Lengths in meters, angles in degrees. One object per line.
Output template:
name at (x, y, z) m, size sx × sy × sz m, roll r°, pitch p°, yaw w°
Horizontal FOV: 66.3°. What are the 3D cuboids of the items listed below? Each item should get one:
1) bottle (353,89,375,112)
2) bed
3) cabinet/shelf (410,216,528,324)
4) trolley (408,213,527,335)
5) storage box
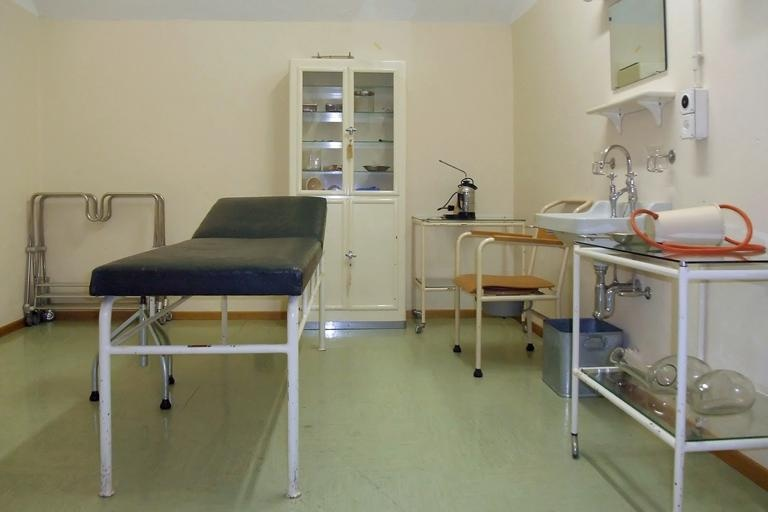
bottle at (-0.162, -1.278, 4.781) m, size 0.174 × 0.161 × 0.088 m, roll 1°, pitch 13°, yaw 3°
bed at (-0.939, 0.313, 3.985) m, size 1.033 × 1.196 × 2.837 m, roll 0°, pitch 7°, yaw -2°
cabinet/shelf at (0.627, 0.051, 5.102) m, size 1.106 × 1.007 × 0.896 m, roll 0°, pitch 0°, yaw -3°
trolley at (0.760, 0.172, 5.003) m, size 1.003 × 0.948 × 0.842 m, roll -3°, pitch -4°, yaw 9°
storage box at (1.264, 0.599, 3.691) m, size 0.489 × 0.461 × 0.486 m, roll -1°, pitch 4°, yaw -5°
